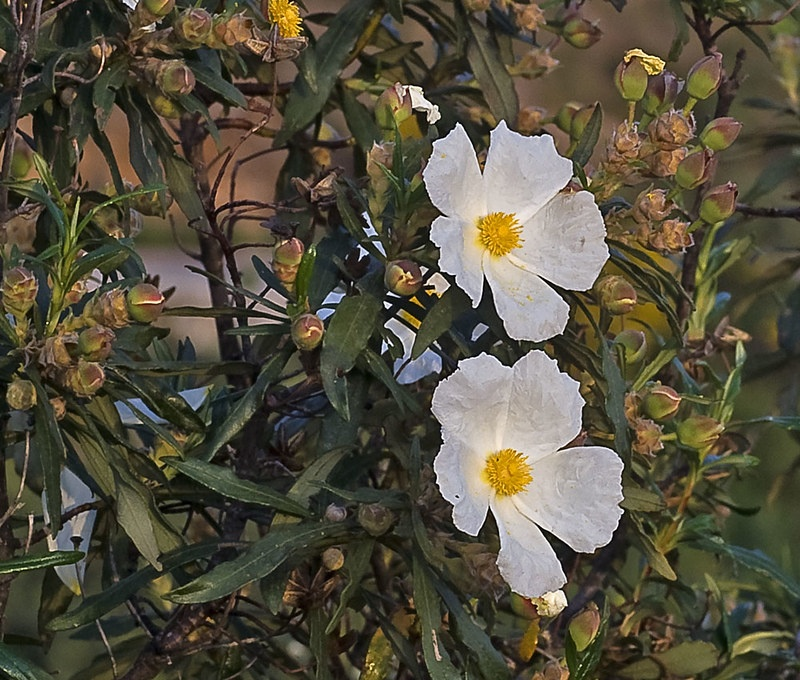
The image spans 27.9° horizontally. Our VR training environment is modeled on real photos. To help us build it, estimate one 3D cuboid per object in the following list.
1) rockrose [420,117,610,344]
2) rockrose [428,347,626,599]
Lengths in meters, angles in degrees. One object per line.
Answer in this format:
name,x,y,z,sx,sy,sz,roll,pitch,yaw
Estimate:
rockrose,0.146,-0.144,2.090,0.221,0.157,0.292,-17,76,-3
rockrose,0.155,0.162,2.085,0.241,0.163,0.286,-41,78,-9
